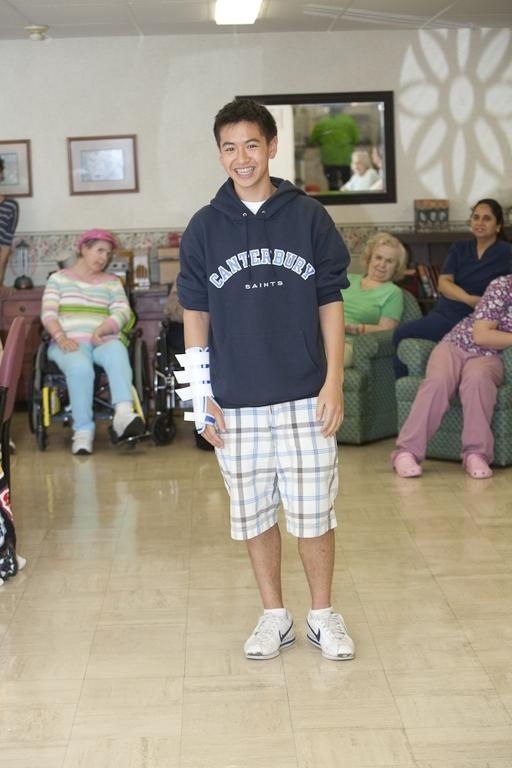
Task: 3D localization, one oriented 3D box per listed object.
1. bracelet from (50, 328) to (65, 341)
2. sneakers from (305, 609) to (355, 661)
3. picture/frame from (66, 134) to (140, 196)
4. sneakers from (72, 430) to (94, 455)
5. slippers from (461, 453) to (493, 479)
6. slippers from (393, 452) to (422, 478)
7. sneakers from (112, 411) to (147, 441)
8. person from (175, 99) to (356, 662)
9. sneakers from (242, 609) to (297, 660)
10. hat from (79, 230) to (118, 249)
[{"bbox_3d":[-1.247,-0.306,4.088,0.073,0.067,0.017,-3,-32,13],"label":"bracelet"},{"bbox_3d":[0.168,0.596,1.565,0.061,0.067,0.162,-6,4,-19],"label":"sneakers"},{"bbox_3d":[-1.363,-1.966,5.756,0.533,0.420,0.040,-2,10,-1],"label":"picture/frame"},{"bbox_3d":[-1.066,0.359,3.998,0.119,0.147,0.130,-1,3,-15],"label":"sneakers"},{"bbox_3d":[1.109,0.407,3.256,0.129,0.107,0.173,0,3,11],"label":"slippers"},{"bbox_3d":[0.767,0.407,3.297,0.137,0.113,0.168,0,3,8],"label":"slippers"},{"bbox_3d":[-0.768,0.255,3.881,0.226,0.164,0.187,0,3,7],"label":"sneakers"},{"bbox_3d":[0.024,-0.024,1.503,0.414,1.264,0.339,-4,-4,-2],"label":"person"},{"bbox_3d":[0.039,0.600,1.566,0.063,0.080,0.170,-4,-2,20],"label":"sneakers"},{"bbox_3d":[-1.012,-0.969,4.363,0.223,0.117,0.248,0,1,26],"label":"hat"}]
